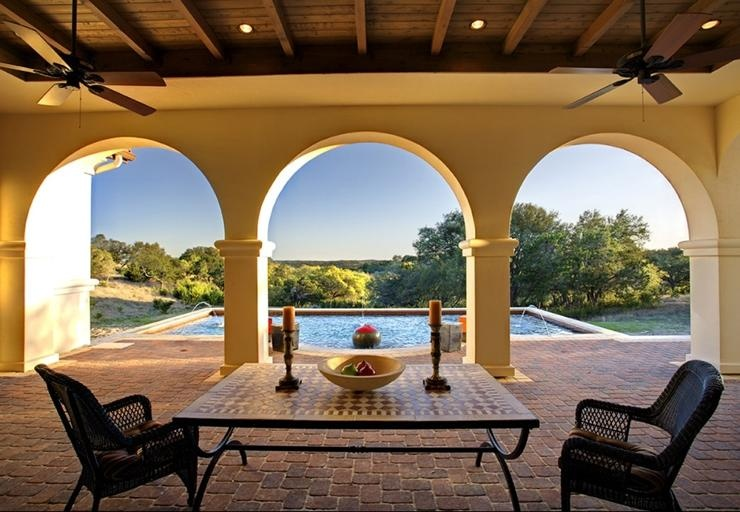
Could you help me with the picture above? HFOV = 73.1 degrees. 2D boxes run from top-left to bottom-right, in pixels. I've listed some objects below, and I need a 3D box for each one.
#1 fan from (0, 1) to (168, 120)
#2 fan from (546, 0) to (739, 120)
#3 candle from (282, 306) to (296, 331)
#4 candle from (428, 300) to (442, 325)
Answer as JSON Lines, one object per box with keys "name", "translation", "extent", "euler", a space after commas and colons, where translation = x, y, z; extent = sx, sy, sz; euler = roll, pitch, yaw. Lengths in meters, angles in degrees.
{"name": "fan", "translation": [-3.437, -2.671, 6.211], "extent": [1.628, 0.656, 1.764], "euler": [15, -27, -39]}
{"name": "fan", "translation": [3.200, -2.191, 5.597], "extent": [1.703, 0.699, 1.589], "euler": [1, -1, 16]}
{"name": "candle", "translation": [-0.845, 0.640, 5.145], "extent": [0.114, 0.261, 0.120], "euler": [-3, 0, -11]}
{"name": "candle", "translation": [0.692, 0.581, 5.215], "extent": [0.103, 0.265, 0.163], "euler": [-3, 0, 14]}
